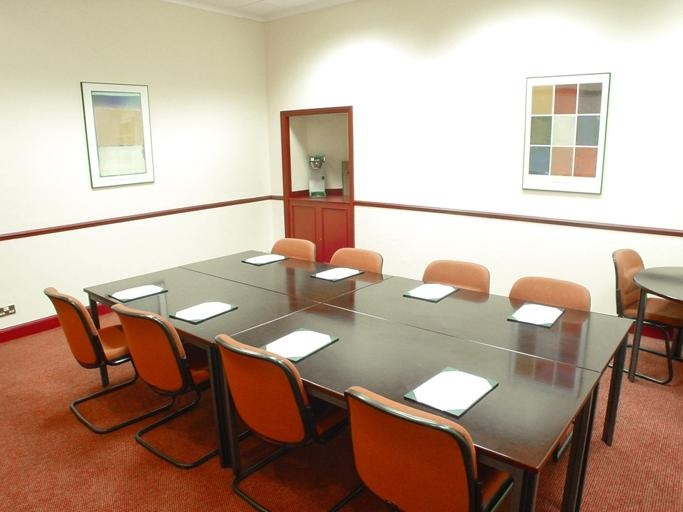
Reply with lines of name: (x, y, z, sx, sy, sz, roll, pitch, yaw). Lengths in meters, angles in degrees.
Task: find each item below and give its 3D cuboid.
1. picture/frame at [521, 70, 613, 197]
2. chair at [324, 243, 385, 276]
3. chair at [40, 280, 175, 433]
picture/frame: (2.071, -1.130, 4.717, 0.709, 1.058, 0.240, 5, 17, 20)
chair: (0.138, 0.039, 4.308, 0.300, 0.393, 0.281, 5, 5, 28)
chair: (-1.703, 0.786, 3.719, 0.665, 1.215, 0.814, 16, 22, 41)
